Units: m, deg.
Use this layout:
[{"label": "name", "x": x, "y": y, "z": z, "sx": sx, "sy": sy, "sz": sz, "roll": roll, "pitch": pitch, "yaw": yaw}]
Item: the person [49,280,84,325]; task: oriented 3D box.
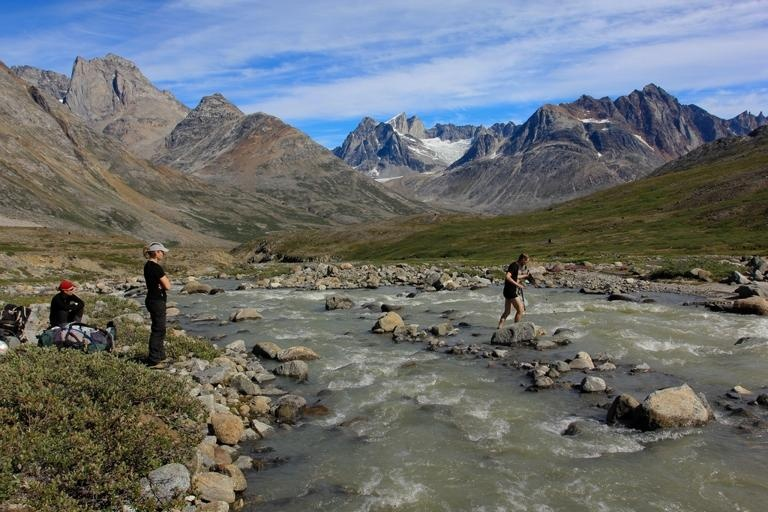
[{"label": "person", "x": -17.567, "y": 2.607, "z": 32.426, "sx": 1.497, "sy": 2.540, "sz": 0.893, "roll": -2, "pitch": 6, "yaw": -31}]

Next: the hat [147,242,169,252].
[{"label": "hat", "x": -11.400, "y": -0.469, "z": 30.137, "sx": 1.243, "sy": 0.390, "sz": 0.729, "roll": -4, "pitch": 8, "yaw": -29}]
